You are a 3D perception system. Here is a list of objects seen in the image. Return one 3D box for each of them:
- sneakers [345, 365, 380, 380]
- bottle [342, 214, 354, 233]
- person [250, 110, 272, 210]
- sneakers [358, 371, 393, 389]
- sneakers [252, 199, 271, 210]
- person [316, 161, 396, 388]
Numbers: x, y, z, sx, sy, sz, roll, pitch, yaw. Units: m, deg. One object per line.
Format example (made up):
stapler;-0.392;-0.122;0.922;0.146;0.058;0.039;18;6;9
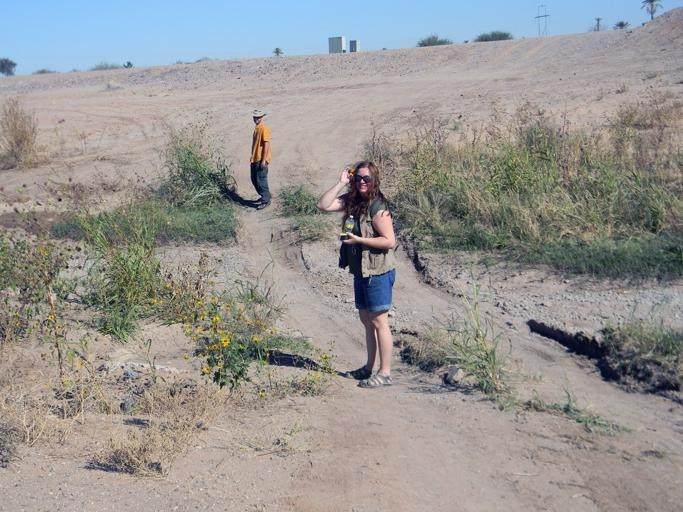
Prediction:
sneakers;0.251;1.392;7.623;0.386;0.193;0.143;6;6;9
bottle;0.083;-0.350;7.146;0.140;0.156;0.292;-4;21;-1
person;-1.579;-1.902;12.547;0.425;1.807;0.983;-6;19;-7
sneakers;0.390;1.424;7.387;0.320;0.153;0.170;1;1;-10
sneakers;-1.527;-0.986;12.552;0.410;0.166;0.202;-10;-4;9
person;0.252;0.255;7.353;0.596;2.584;0.821;-14;22;-30
